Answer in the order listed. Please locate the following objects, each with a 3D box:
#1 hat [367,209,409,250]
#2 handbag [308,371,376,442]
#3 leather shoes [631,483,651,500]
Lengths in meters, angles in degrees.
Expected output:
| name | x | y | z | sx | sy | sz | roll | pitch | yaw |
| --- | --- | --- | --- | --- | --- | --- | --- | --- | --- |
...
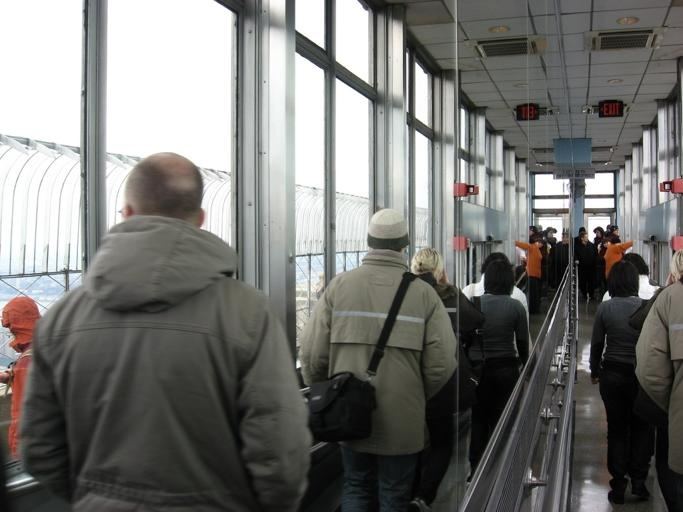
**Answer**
| name | x | y | z | sx | sy | sz | roll | pitch | yaw |
| --- | --- | --- | --- | --- | --- | --- | --- | --- | --- |
| hat | 0.205 | -0.140 | 2.773 | 0.190 | 0.173 | 0.215 | 10 | 26 | 19 |
| handbag | -0.032 | 0.658 | 2.608 | 0.276 | 0.271 | 0.194 | -27 | -38 | 32 |
| leather shoes | 2.144 | 1.697 | 4.480 | 0.154 | 0.155 | 0.072 | 1 | -4 | -38 |
